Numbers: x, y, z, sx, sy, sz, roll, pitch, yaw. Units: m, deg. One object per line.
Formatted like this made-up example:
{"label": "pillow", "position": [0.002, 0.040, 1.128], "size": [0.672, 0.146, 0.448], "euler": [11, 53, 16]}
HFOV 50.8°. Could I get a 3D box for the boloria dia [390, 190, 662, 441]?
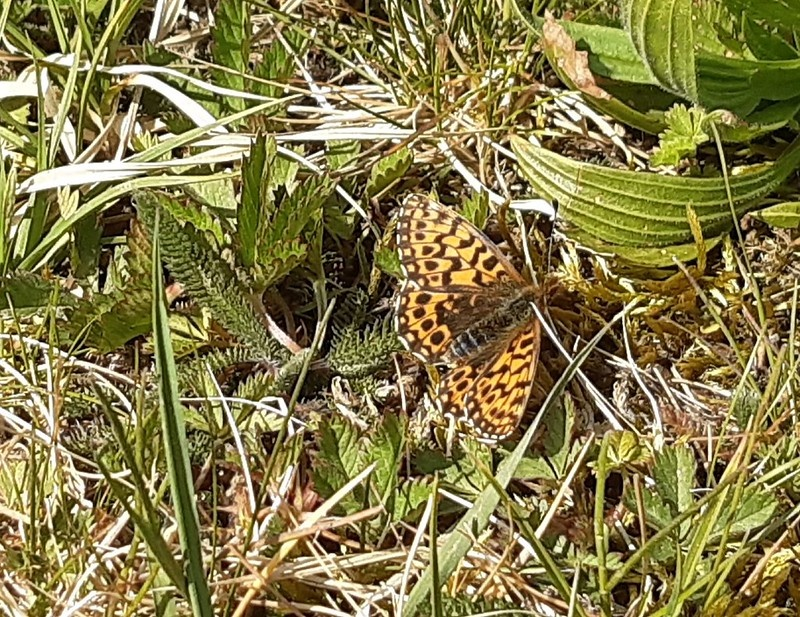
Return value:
{"label": "boloria dia", "position": [0.119, 0.018, 1.700], "size": [0.340, 0.220, 0.373], "euler": [15, 57, 8]}
